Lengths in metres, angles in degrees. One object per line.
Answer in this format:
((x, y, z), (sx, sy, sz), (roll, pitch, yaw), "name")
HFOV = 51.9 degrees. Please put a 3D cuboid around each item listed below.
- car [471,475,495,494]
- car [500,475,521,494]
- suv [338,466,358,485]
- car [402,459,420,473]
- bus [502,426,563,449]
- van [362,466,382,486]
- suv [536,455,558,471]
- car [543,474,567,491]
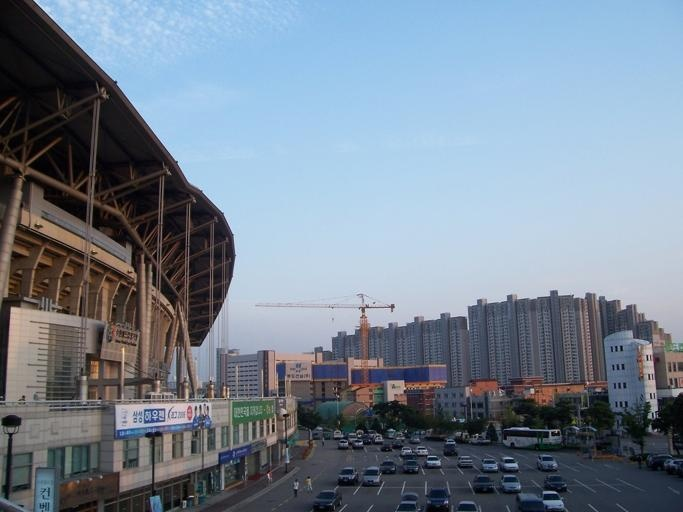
((12.196, 19.830, 61.057), (1.443, 1.481, 1.972), (-16, -19, 34), "car")
((14.444, 19.682, 60.577), (1.656, 1.446, 2.124), (-7, -16, 9), "car")
((0.534, 21.070, 67.338), (2.012, 1.567, 3.877), (-1, -18, 4), "suv")
((7.142, 22.050, 73.546), (1.644, 1.367, 2.353), (-5, -16, 2), "car")
((27.565, 27.322, 105.211), (9.699, 3.167, 3.413), (-6, -13, 43), "bus")
((2.806, 20.769, 66.178), (1.858, 1.244, 3.363), (-3, -18, 6), "van")
((21.557, 22.037, 74.597), (1.283, 0.950, 2.586), (-3, -22, 7), "suv")
((18.469, 19.772, 61.135), (1.701, 1.380, 1.614), (-5, -16, 1), "car")
